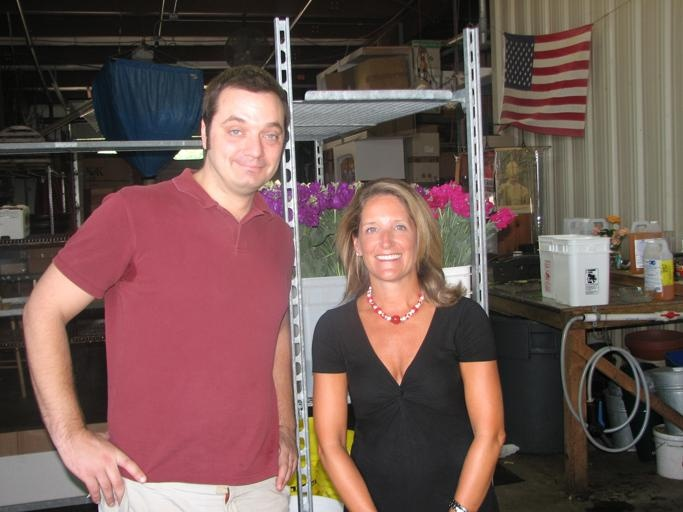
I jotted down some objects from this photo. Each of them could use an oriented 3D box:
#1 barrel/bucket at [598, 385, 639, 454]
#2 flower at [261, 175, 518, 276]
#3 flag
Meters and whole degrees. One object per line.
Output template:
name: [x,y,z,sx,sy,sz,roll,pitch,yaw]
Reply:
barrel/bucket: [2.013,1.157,4.696,0.215,0.330,0.222,-9,-5,-1]
flower: [0.214,-0.122,3.026,0.865,0.397,1.039,-1,-1,-12]
flag: [2.129,-1.788,6.823,0.187,1.363,1.236,-9,13,-44]
